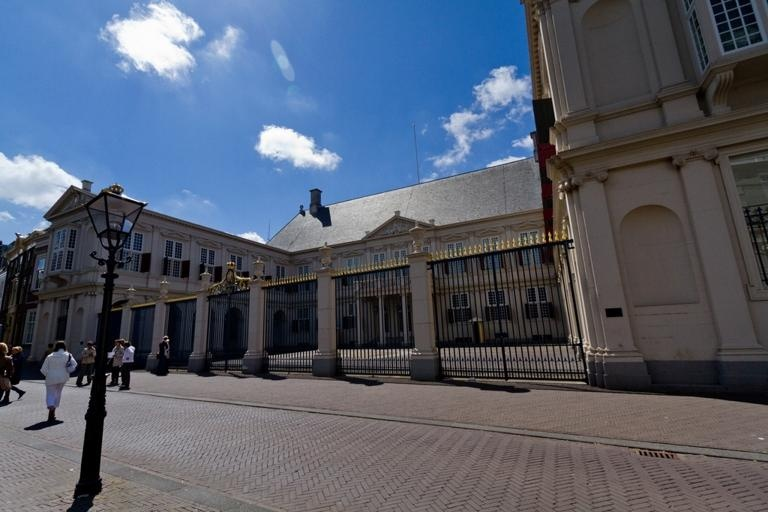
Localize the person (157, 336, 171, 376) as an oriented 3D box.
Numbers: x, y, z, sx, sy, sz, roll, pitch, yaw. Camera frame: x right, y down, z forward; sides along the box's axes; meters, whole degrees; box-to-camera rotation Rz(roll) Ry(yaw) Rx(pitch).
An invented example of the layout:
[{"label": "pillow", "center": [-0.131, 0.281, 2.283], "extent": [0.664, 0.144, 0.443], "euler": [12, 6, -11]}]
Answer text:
[{"label": "person", "center": [-9.929, 4.507, 19.259], "extent": [0.560, 1.670, 0.661], "euler": [-6, 6, -34]}]
